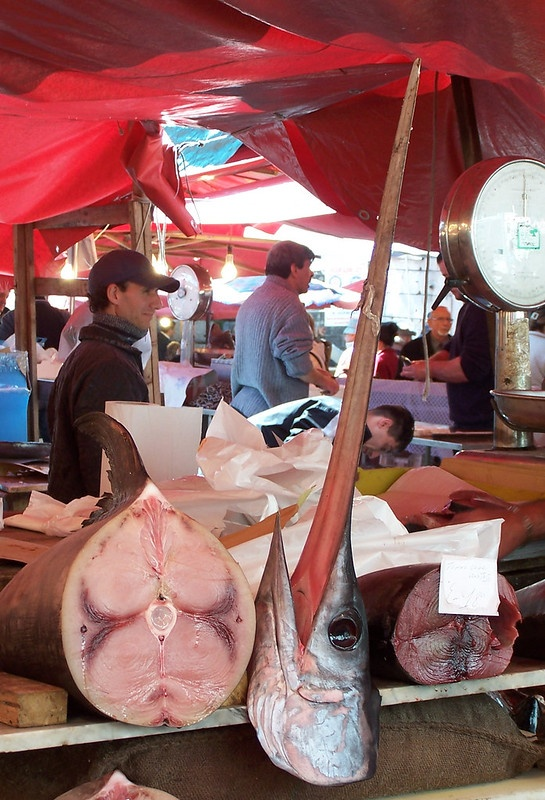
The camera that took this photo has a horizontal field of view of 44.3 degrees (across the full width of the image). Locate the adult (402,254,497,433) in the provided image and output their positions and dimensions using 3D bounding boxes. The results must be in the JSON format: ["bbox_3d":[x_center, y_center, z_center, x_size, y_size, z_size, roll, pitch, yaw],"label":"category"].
[{"bbox_3d":[1.051,-0.322,3.959,0.603,0.979,0.611,1,6,5],"label":"adult"}]

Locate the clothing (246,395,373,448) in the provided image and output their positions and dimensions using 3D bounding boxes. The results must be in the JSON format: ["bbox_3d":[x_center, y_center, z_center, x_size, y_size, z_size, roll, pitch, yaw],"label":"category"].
[{"bbox_3d":[0.131,0.088,2.789,0.522,0.242,0.363,-6,6,5],"label":"clothing"}]

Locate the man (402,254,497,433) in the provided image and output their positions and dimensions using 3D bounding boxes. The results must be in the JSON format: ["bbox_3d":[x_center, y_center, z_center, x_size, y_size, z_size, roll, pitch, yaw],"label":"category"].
[{"bbox_3d":[1.075,-0.326,3.983,0.599,0.985,0.600,3,6,19],"label":"man"}]

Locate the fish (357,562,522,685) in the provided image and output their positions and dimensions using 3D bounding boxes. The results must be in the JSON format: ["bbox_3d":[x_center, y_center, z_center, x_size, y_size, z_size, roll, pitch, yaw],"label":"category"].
[{"bbox_3d":[0.181,0.255,0.819,0.123,0.069,0.198,0,-2,-16],"label":"fish"}]

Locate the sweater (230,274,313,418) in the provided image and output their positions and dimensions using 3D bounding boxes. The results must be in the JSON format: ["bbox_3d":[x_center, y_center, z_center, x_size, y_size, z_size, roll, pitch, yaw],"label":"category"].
[{"bbox_3d":[-0.026,-0.307,3.758,0.548,0.779,0.362,0,10,14],"label":"sweater"}]

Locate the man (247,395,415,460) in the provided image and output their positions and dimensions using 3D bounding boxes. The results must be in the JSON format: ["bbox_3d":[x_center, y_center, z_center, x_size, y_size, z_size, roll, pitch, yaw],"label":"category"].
[{"bbox_3d":[0.261,0.091,2.993,0.483,0.229,0.853,-4,9,-40],"label":"man"}]

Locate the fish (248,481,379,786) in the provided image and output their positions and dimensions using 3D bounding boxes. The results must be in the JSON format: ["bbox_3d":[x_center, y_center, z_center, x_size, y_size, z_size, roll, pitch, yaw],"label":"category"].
[{"bbox_3d":[0.038,0.231,0.638,0.122,0.243,0.087,-1,10,8],"label":"fish"}]
